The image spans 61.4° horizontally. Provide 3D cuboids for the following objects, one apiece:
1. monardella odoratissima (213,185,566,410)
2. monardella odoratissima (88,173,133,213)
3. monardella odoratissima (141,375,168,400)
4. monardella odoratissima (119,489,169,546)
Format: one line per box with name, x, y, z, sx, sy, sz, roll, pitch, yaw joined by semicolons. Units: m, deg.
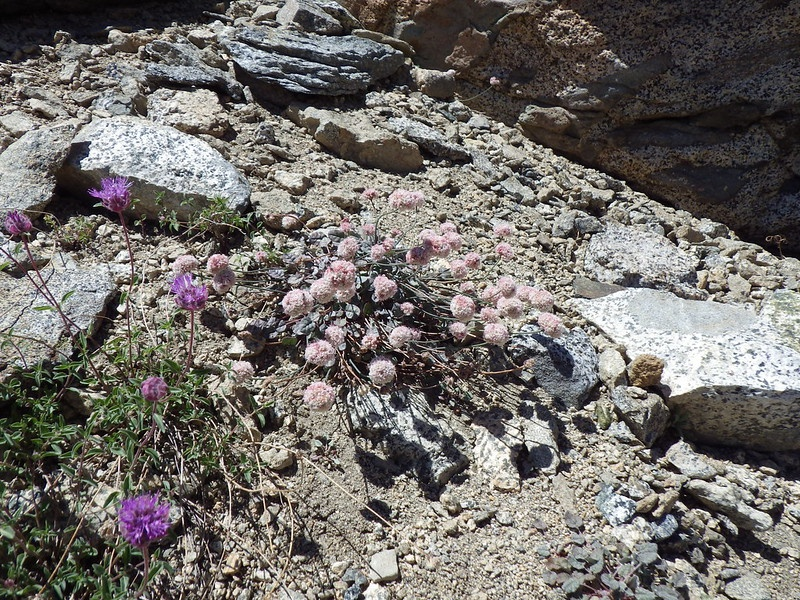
monardella odoratissima;-0.010;-0.065;4.669;2.031;0.985;1.342;-10;49;-25
monardella odoratissima;-1.734;-0.654;4.067;0.265;0.250;0.199;-11;96;-12
monardella odoratissima;-1.349;0.475;3.706;0.132;0.080;0.129;1;88;-14
monardella odoratissima;-1.322;1.076;3.430;0.216;0.201;0.209;20;72;-3
